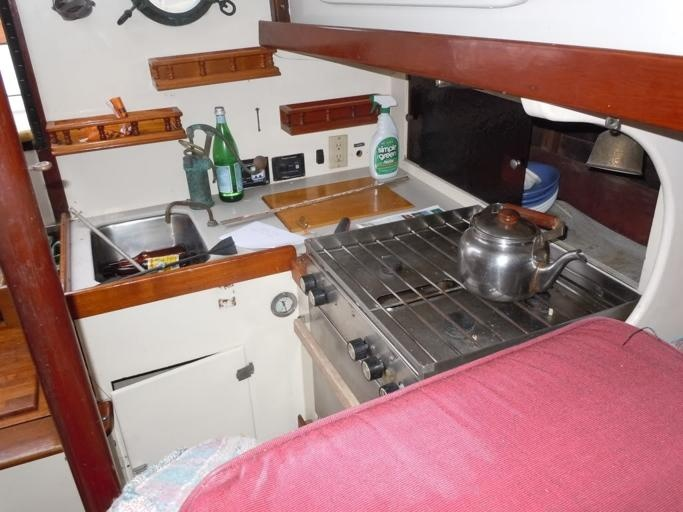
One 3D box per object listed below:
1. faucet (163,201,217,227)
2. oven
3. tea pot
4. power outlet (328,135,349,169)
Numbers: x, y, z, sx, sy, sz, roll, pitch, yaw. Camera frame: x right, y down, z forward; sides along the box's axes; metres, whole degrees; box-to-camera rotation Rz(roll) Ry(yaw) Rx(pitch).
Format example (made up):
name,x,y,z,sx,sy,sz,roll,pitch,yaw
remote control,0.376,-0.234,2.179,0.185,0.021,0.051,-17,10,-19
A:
name,x,y,z,sx,sy,sz,roll,pitch,yaw
faucet,-0.616,-0.165,1.918,0.169,0.091,0.059,2,53,-12
oven,0.046,0.194,1.274,0.291,0.432,0.313,-14,48,-16
tea pot,0.427,-0.025,1.233,0.213,0.203,0.299,-16,33,-15
power outlet,-0.022,-0.490,2.226,0.139,0.195,0.020,-10,38,-16
